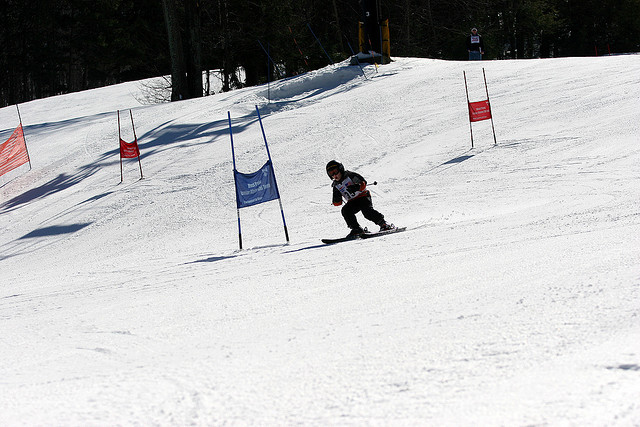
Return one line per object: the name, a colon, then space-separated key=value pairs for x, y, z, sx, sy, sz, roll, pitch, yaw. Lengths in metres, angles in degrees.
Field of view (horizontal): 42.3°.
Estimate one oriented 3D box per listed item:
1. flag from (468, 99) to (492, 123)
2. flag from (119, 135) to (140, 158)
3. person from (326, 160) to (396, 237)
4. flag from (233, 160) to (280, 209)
flag: x=4.869 y=-3.049 z=25.157 sx=0.997 sy=0.642 sz=0.045 roll=-15 pitch=3 yaw=-25
flag: x=-6.280 y=-2.044 z=26.775 sx=0.560 sy=0.622 sz=0.801 roll=-9 pitch=11 yaw=-14
person: x=1.017 y=-0.287 z=21.184 sx=1.556 sy=0.941 sz=1.789 roll=10 pitch=35 yaw=-30
flag: x=-1.729 y=-0.703 z=22.097 sx=1.446 sy=1.112 sz=0.106 roll=-16 pitch=12 yaw=-6
